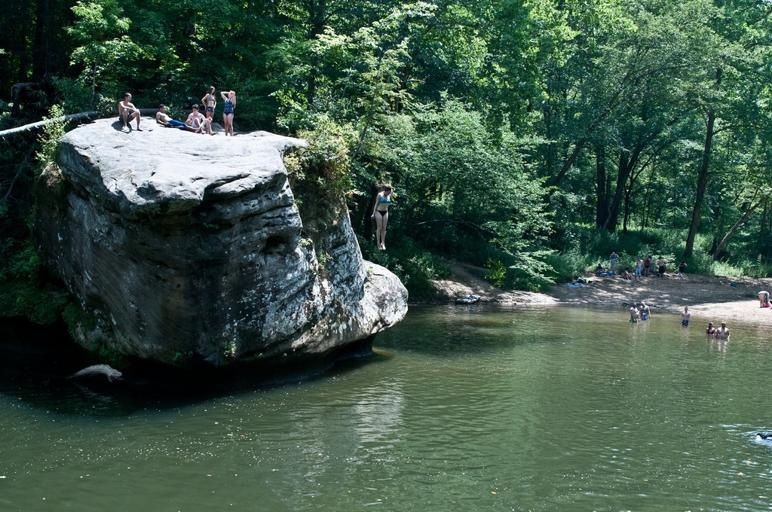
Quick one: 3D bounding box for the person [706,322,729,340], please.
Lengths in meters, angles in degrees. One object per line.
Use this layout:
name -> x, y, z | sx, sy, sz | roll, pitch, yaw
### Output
person -> 17.961, 4.086, 55.624 | 1.004, 0.955, 1.578 | 2, -22, 11
